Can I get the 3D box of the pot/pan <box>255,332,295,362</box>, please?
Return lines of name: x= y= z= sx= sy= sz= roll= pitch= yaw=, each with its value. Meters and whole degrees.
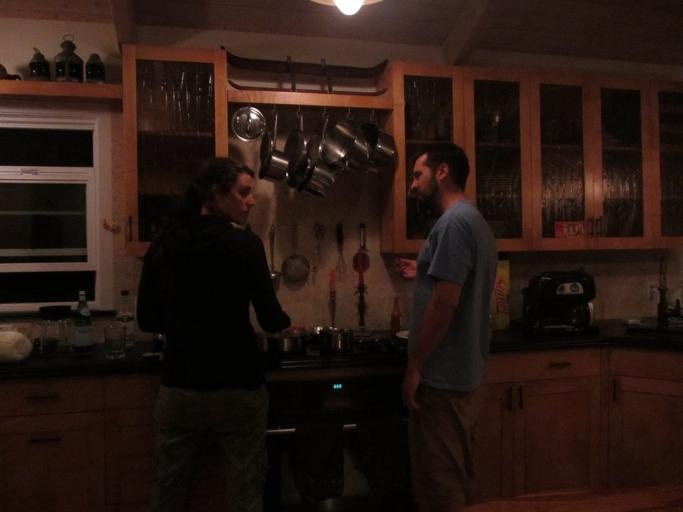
pot/pan: x=-0.379 y=0.523 z=3.722 sx=0.153 sy=0.098 sz=0.156 roll=0 pitch=2 yaw=-11

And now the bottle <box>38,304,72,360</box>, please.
bottle: x=-1.715 y=0.452 z=3.773 sx=0.246 sy=0.393 sz=0.255 roll=0 pitch=0 yaw=0
